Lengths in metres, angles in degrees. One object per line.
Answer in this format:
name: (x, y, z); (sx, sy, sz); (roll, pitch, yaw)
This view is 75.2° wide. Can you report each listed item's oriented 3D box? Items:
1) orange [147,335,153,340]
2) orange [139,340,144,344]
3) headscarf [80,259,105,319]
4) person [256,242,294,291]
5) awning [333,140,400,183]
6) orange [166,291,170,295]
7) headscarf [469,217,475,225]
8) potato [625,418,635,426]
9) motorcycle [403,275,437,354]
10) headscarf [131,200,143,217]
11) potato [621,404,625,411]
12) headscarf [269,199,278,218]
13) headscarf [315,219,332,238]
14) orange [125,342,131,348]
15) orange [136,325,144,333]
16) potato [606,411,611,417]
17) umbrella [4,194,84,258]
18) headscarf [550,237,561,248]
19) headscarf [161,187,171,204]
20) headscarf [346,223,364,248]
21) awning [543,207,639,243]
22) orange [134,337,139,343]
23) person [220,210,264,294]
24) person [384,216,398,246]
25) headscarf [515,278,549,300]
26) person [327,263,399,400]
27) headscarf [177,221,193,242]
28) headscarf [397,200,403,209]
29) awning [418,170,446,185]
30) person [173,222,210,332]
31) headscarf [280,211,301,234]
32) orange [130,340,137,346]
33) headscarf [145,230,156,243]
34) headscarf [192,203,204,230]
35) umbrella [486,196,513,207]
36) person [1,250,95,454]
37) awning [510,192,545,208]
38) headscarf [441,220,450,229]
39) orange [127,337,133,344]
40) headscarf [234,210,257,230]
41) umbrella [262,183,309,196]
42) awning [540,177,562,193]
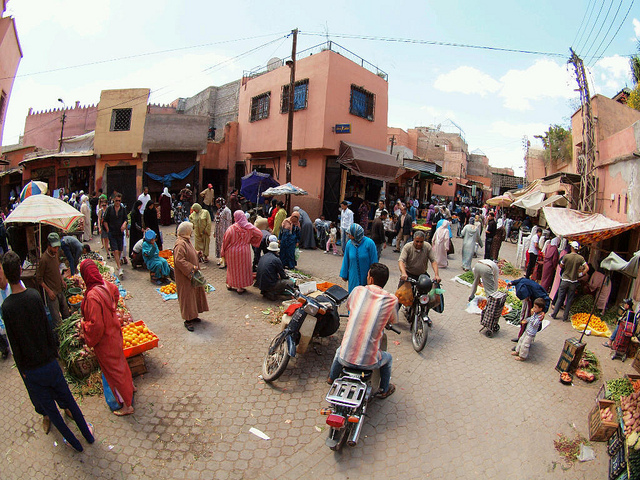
orange: (-3.049, 1.717, 7.427); (0.085, 0.045, 0.093); (3, 5, -20)
orange: (-3.142, 1.775, 7.294); (0.032, 0.043, 0.034); (-11, 12, -2)
headscarf: (-3.560, 0.730, 6.466); (0.334, 0.842, 0.428); (1, 5, -31)
person: (-1.131, 0.761, 10.105); (0.871, 1.461, 0.825); (4, 0, -41)
awning: (2.266, -3.384, 17.988); (1.032, 1.543, 3.488); (12, 9, 43)
orange: (-3.771, 1.289, 10.264); (0.053, 0.069, 0.053); (6, -3, -38)
headscarf: (5.203, -0.670, 14.207); (0.157, 0.235, 0.563); (5, 4, 17)
potato: (4.694, 2.736, 6.270); (0.115, 0.081, 0.091); (5, 4, 10)
motorcycle: (2.053, 1.477, 8.651); (0.650, 1.552, 1.068); (5, 5, 16)
headscarf: (-5.486, -0.955, 12.431); (0.237, 0.512, 0.465); (1, 5, -30)
potato: (4.811, 2.636, 6.594); (0.037, 0.083, 0.029); (-3, -27, 21)
headscarf: (-1.813, -1.233, 16.134); (0.260, 0.679, 0.859); (3, 4, -8)
headscarf: (0.001, -0.512, 16.851); (0.592, 0.666, 0.281); (5, 1, -8)
orange: (-3.325, 1.799, 7.167); (0.071, 0.063, 0.060); (-2, -26, -48)
orange: (-3.293, 1.608, 7.572); (0.137, 0.077, 0.097); (4, 4, -8)
potato: (4.671, 2.791, 6.704); (0.020, 0.083, 0.046); (42, -11, 4)
umbrella: (-5.819, -0.247, 8.773); (1.256, 1.199, 1.246); (7, -1, -42)
headscarf: (6.830, 0.050, 12.002); (0.220, 0.316, 0.242); (1, 6, 11)
headscarf: (-7.048, -2.037, 19.145); (0.681, 0.631, 0.350); (4, 31, -7)
headscarf: (0.746, -0.129, 8.698); (0.377, 0.553, 0.384); (-3, 19, 8)
awning: (6.887, -0.409, 10.898); (1.208, 0.366, 1.301); (4, 25, 24)
orange: (-3.235, 1.746, 7.300); (0.057, 0.064, 0.060); (-8, -2, -22)
person: (-1.964, 0.304, 10.325); (0.903, 2.048, 0.546); (2, 5, -17)
person: (2.924, -0.350, 17.231); (0.359, 0.419, 1.156); (-8, -11, 0)
headscarf: (4.494, 1.061, 8.871); (0.413, 0.179, 0.417); (-4, 25, -33)
person: (0.668, 1.474, 6.763); (1.143, 2.174, 1.220); (11, 6, 40)
headscarf: (-2.783, -0.215, 8.523); (0.345, 0.383, 0.323); (12, 6, -30)
headscarf: (3.581, -1.588, 18.423); (0.325, 0.186, 0.477); (-4, -37, 5)
awning: (7.292, -4.219, 26.868); (0.229, 0.799, 5.053); (11, 10, 34)
person: (-2.621, 0.756, 8.444); (0.669, 2.199, 0.749); (2, 5, -14)
headscarf: (-0.878, -0.502, 12.065); (0.384, 0.603, 0.640); (6, 5, 29)
orange: (-3.259, 1.775, 7.245); (0.074, 0.094, 0.075); (-31, -4, 32)
headscarf: (-4.544, -0.123, 11.136); (0.298, 0.327, 0.242); (-11, 18, 0)
headscarf: (-3.617, -0.709, 12.256); (0.315, 0.734, 0.518); (3, 5, -12)
umbrella: (10.131, -2.229, 23.302); (1.127, 0.614, 2.004); (5, 4, 11)
person: (-3.970, 1.613, 5.876); (1.146, 2.764, 0.402); (4, 5, 9)
awning: (9.850, -1.852, 19.265); (0.929, 0.253, 0.925); (-40, 19, -17)
headscarf: (4.325, -0.554, 14.380); (0.215, 0.299, 0.441); (6, 5, 25)
orange: (-3.336, 1.750, 7.280); (0.073, 0.097, 0.078); (-7, 29, 5)
headscarf: (-1.873, -0.504, 10.334); (0.533, 0.427, 0.473); (3, 4, -12)
umbrella: (-1.189, -1.876, 15.149); (1.186, 0.510, 1.400); (7, 5, 37)
awning: (8.470, -1.948, 15.058); (0.508, 0.465, 0.516); (9, -1, -18)
